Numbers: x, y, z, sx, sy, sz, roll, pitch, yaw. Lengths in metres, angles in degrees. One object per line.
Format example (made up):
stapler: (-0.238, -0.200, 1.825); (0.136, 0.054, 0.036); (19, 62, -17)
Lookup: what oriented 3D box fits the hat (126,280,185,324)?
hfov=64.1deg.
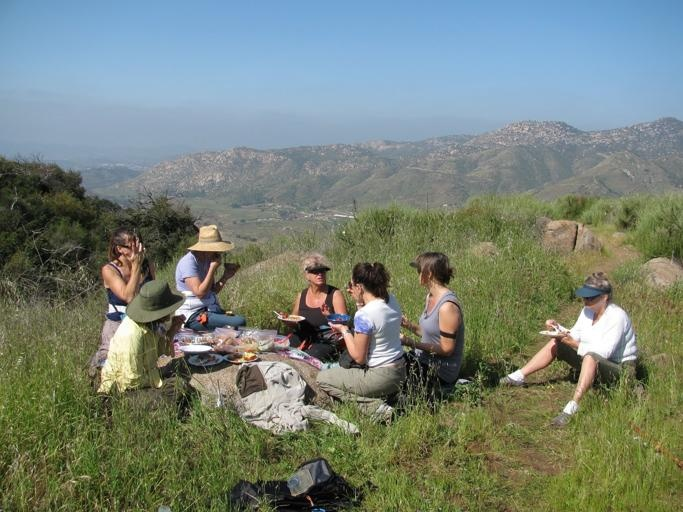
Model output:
hat: (-2.103, 0.517, 6.175); (0.492, 0.208, 0.482); (-16, 43, -34)

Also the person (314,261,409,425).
person: (0.305, 1.047, 6.773); (0.976, 1.904, 0.539); (1, 10, 7)

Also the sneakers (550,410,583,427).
sneakers: (2.726, 2.012, 6.762); (0.256, 0.115, 0.152); (-21, 4, -9)

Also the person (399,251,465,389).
person: (1.205, 0.846, 7.270); (0.788, 1.808, 0.587); (4, 10, 22)

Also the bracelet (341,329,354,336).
bracelet: (0.065, 0.970, 6.974); (0.110, 0.081, 0.121); (-4, -30, 4)

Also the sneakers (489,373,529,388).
sneakers: (2.358, 1.784, 7.817); (0.521, 0.247, 0.205); (10, -9, 5)

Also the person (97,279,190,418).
person: (-2.248, 0.976, 6.177); (0.976, 1.341, 0.742); (-5, 11, -29)

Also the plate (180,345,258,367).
plate: (-1.569, 1.266, 6.962); (0.899, 0.221, 0.307); (-1, 10, -7)

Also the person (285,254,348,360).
person: (-0.415, 0.737, 7.780); (0.991, 1.510, 1.129); (-1, 3, -24)

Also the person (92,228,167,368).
person: (-2.765, 0.664, 7.252); (0.880, 2.141, 0.637); (-16, 25, -40)

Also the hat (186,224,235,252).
hat: (-1.920, -0.238, 8.032); (0.434, 0.261, 0.465); (-2, 5, 18)

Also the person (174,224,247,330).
person: (-2.021, 0.543, 8.276); (0.986, 1.917, 0.836); (0, 2, 13)
